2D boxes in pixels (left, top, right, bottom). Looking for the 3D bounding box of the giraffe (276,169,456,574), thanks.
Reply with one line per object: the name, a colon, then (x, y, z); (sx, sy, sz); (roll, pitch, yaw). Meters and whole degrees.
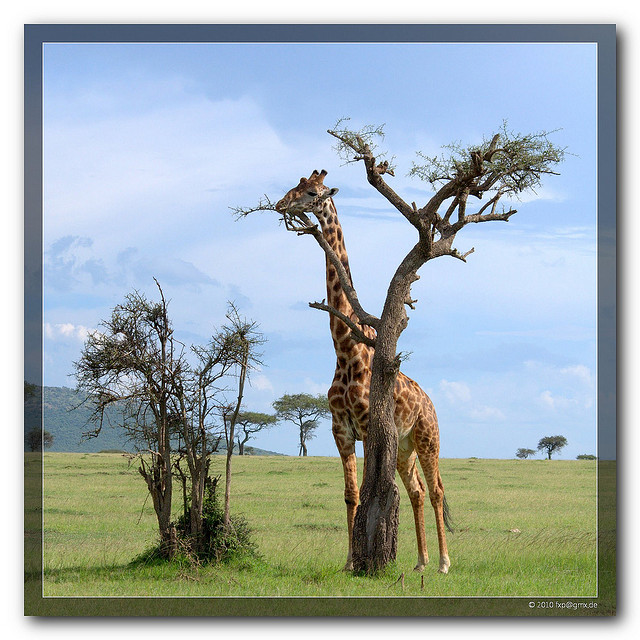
giraffe: (0.996, 0.845, 21.076); (2.516, 6.835, 1.584); (-5, 0, -40)
